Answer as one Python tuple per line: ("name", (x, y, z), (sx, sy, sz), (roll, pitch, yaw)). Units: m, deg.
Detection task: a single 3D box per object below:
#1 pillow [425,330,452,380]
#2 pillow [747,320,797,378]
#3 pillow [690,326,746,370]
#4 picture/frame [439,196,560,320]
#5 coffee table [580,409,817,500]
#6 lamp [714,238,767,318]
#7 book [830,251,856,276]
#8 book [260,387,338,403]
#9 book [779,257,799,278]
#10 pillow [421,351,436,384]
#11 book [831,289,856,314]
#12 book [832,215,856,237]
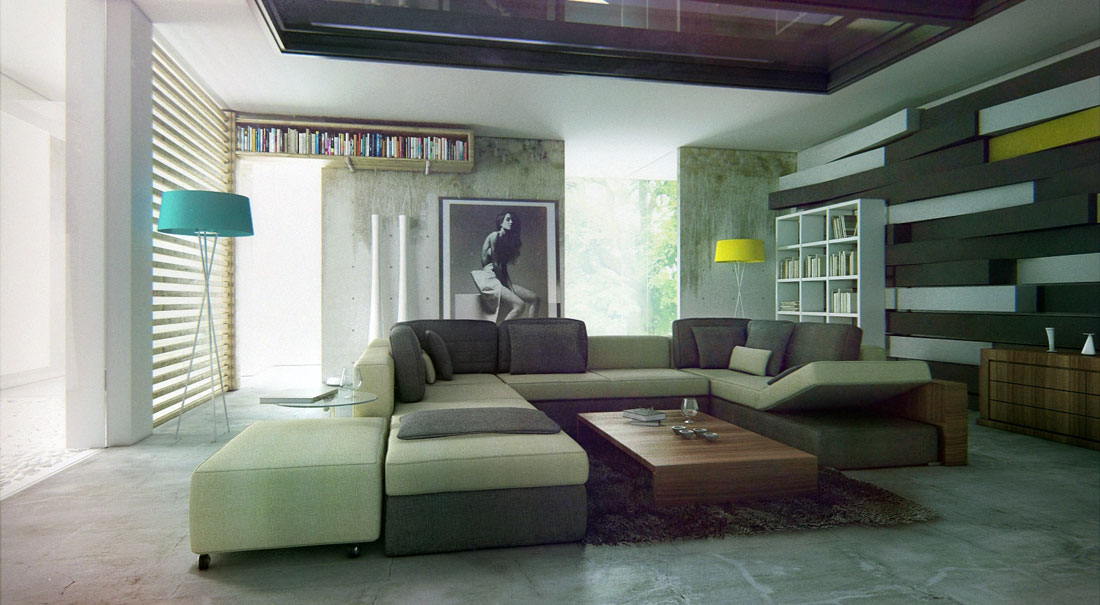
("pillow", (-1.179, 0.570, 7.830), (0.174, 0.427, 0.494), (-11, -1, -2))
("pillow", (2.669, 0.530, 8.387), (0.260, 0.532, 0.635), (20, -11, -36))
("pillow", (1.975, 0.508, 8.498), (0.656, 0.434, 0.169), (-2, -11, -5))
("picture/frame", (-0.786, -0.601, 10.302), (2.369, 1.962, 0.149), (0, -1, -14))
("coffee table", (1.480, 1.462, 6.995), (1.434, 0.308, 1.849), (-3, 3, -4))
("lamp", (2.753, -0.384, 10.673), (0.626, 1.175, 0.909), (-1, 2, 10))
("book", (3.926, -0.518, 9.736), (0.151, 0.312, 0.419), (-2, 2, -11))
("book", (-2.214, 0.837, 6.473), (0.648, 0.101, 0.373), (-1, 1, -10))
("book", (3.465, -0.489, 10.660), (0.332, 0.340, 0.404), (0, 2, -5))
("pillow", (-1.253, 0.693, 7.615), (0.136, 0.257, 0.289), (-3, 0, -6))
("book", (3.922, -0.006, 9.782), (0.452, 0.330, 0.296), (1, -2, -24))
("book", (3.927, -1.025, 9.737), (0.354, 0.261, 0.076), (3, -4, 12))
